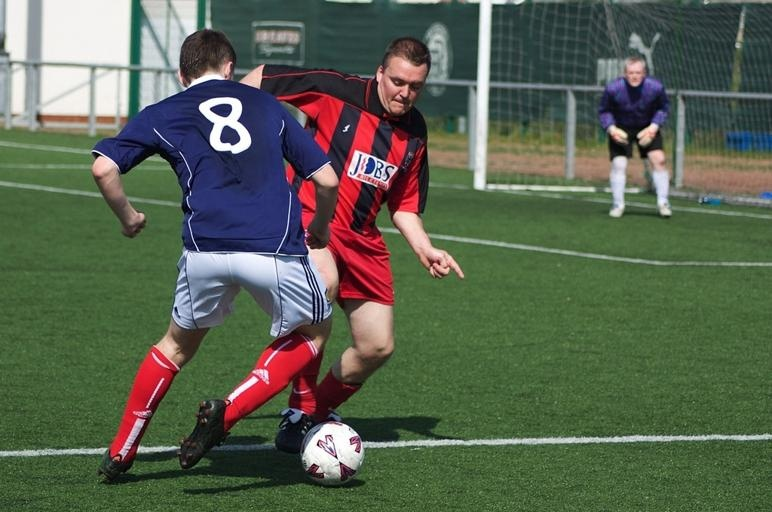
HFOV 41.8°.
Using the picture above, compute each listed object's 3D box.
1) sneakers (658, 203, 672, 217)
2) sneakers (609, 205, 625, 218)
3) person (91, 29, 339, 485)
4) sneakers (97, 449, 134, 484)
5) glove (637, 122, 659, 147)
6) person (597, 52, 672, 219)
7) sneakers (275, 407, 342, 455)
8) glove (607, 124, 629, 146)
[{"bbox_3d":[2.326,-0.376,8.445,0.072,0.085,0.145,0,-5,1],"label":"sneakers"},{"bbox_3d":[1.941,-0.363,8.519,0.066,0.105,0.219,7,9,38],"label":"sneakers"},{"bbox_3d":[-0.962,0.015,5.827,1.327,2.585,0.598,0,7,-11],"label":"person"},{"bbox_3d":[-1.582,1.217,5.980,0.112,0.146,0.306,46,2,0],"label":"sneakers"},{"bbox_3d":[2.295,-1.055,8.911,0.070,0.214,0.152,7,36,-49],"label":"glove"},{"bbox_3d":[2.172,-1.042,8.865,0.613,1.375,1.066,3,7,11],"label":"person"},{"bbox_3d":[-0.539,1.077,6.267,0.186,0.238,0.559,1,-4,34],"label":"sneakers"},{"bbox_3d":[2.068,-1.070,9.028,0.139,0.074,0.177,31,11,-24],"label":"glove"}]
